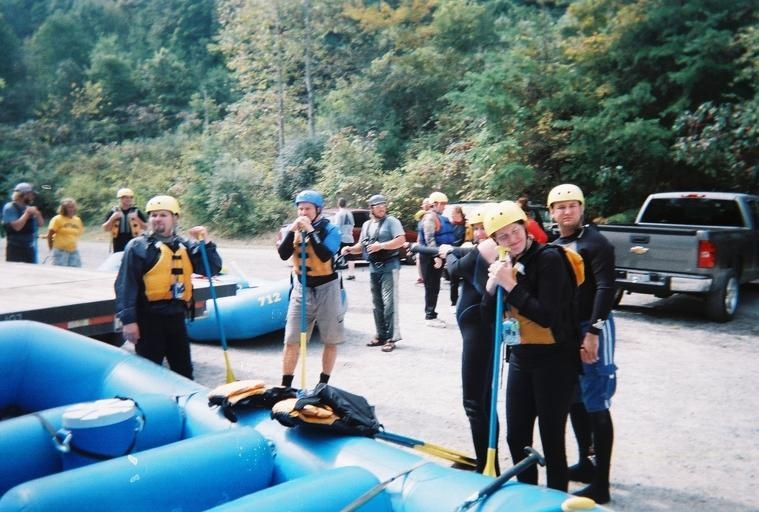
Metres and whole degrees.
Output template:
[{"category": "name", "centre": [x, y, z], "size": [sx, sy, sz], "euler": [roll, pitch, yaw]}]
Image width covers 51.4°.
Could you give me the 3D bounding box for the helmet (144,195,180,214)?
[{"category": "helmet", "centre": [-2.675, -0.630, 9.846], "size": [0.290, 0.222, 0.371], "euler": [2, 11, 10]}]

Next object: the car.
[{"category": "car", "centre": [-0.611, -0.532, 21.021], "size": [3.639, 1.263, 1.592], "euler": [-3, 4, -33]}]

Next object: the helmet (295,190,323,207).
[{"category": "helmet", "centre": [-0.948, -0.762, 10.625], "size": [0.320, 0.249, 0.442], "euler": [-1, 2, 2]}]

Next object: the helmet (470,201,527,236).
[{"category": "helmet", "centre": [1.312, -0.428, 8.402], "size": [0.342, 0.340, 0.442], "euler": [-24, 0, 14]}]

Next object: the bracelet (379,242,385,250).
[{"category": "bracelet", "centre": [0.033, -0.148, 12.393], "size": [0.059, 0.082, 0.111], "euler": [0, 2, 35]}]

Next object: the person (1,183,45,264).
[{"category": "person", "centre": [-6.719, -0.620, 14.847], "size": [0.653, 1.537, 1.009], "euler": [-2, 2, -24]}]

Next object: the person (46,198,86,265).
[{"category": "person", "centre": [-6.033, -0.464, 15.115], "size": [0.663, 1.366, 2.522], "euler": [-2, 2, -22]}]

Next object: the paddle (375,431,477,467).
[{"category": "paddle", "centre": [0.519, 2.204, 8.873], "size": [1.100, 0.114, 0.275], "euler": [19, 27, -23]}]

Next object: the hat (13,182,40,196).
[{"category": "hat", "centre": [-6.729, -1.280, 14.964], "size": [0.328, 0.222, 0.703], "euler": [-2, 2, -23]}]

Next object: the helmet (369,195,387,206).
[{"category": "helmet", "centre": [-0.092, -0.907, 12.805], "size": [0.208, 0.133, 0.274], "euler": [-6, -11, -26]}]

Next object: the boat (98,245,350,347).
[{"category": "boat", "centre": [-2.920, 0.578, 13.447], "size": [3.031, 1.047, 2.062], "euler": [1, 2, 44]}]

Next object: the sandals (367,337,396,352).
[{"category": "sandals", "centre": [0.031, 1.420, 12.485], "size": [0.208, 0.126, 0.373], "euler": [-3, -9, 42]}]
